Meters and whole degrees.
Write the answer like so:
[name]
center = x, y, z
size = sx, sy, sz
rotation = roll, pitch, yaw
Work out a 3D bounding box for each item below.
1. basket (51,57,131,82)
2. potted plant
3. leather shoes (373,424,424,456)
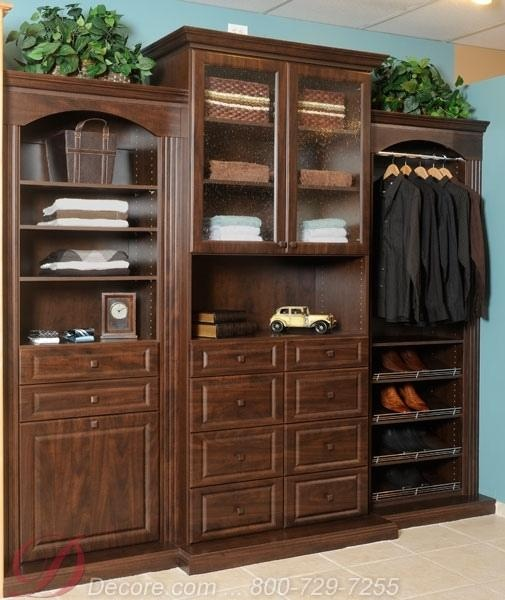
[basket]
center = -0.680, -0.986, 2.692
size = 0.349, 0.099, 0.090
rotation = 1, 3, -30
[potted plant]
center = -0.729, -1.084, 2.690
size = 0.642, 0.302, 0.481
rotation = 3, 33, -21
[leather shoes]
center = 0.845, 0.779, 3.455
size = 0.395, 0.120, 0.106
rotation = -2, 3, -11
